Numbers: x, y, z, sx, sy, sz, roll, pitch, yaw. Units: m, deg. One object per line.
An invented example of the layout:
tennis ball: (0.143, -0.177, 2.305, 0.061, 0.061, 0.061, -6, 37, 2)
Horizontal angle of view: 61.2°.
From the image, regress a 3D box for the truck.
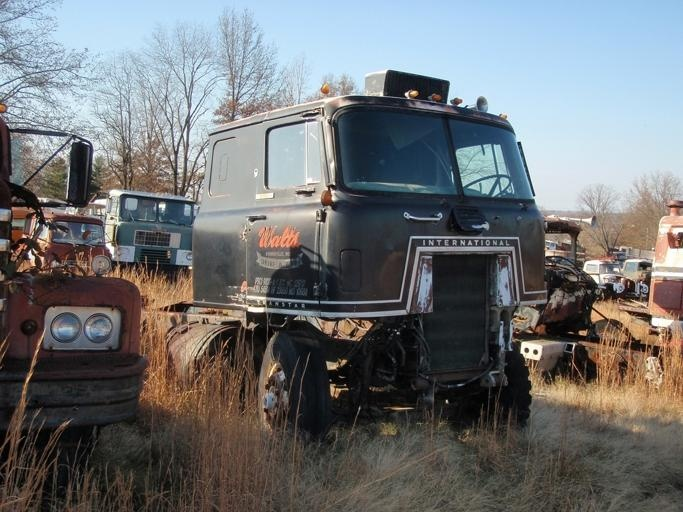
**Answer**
truck: (-1.124, -0.030, 7.215, 3.272, 3.393, 5.696, 2, -5, -39)
